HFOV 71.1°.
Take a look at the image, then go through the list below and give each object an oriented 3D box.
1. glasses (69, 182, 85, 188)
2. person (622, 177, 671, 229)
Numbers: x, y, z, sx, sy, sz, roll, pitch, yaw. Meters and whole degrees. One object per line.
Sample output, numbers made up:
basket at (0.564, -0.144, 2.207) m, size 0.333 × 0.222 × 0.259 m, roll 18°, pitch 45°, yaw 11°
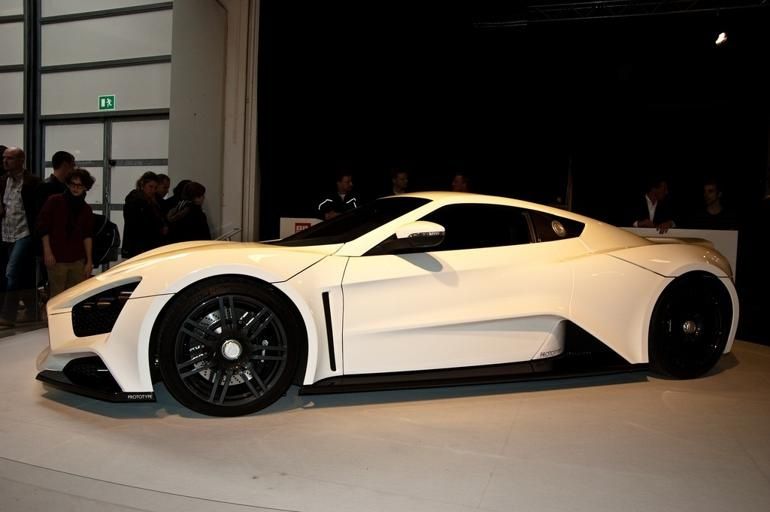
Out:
glasses at (-3.279, -0.745, 5.718) m, size 0.128 × 0.058 × 0.042 m, roll 1°, pitch 4°, yaw -10°
person at (4.011, -0.643, 8.087) m, size 0.501 × 0.846 × 0.426 m, roll 2°, pitch -13°, yaw 3°
